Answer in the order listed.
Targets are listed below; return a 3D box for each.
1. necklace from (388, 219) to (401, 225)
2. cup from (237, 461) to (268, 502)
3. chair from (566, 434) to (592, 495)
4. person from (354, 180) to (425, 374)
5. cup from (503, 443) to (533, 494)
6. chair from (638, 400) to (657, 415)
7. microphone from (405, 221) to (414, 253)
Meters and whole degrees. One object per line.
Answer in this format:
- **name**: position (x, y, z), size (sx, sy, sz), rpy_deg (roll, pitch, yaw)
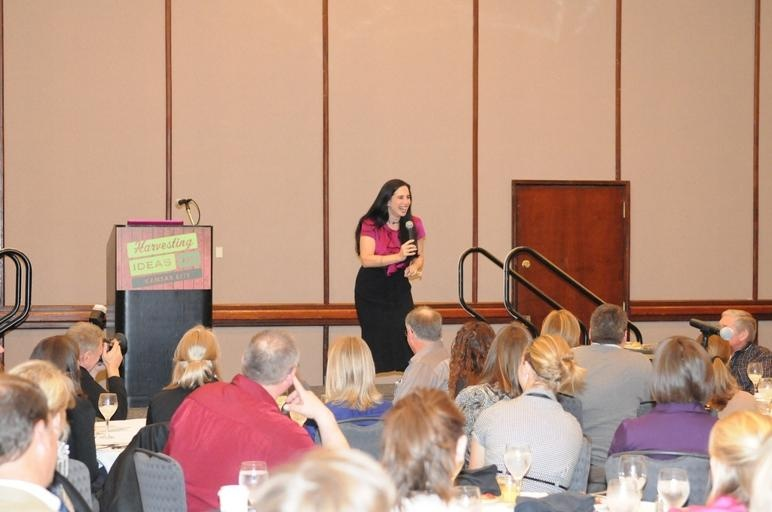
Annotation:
- **necklace**: position (0.070, -0.310, 8.770), size (0.116, 0.058, 0.027), rpy_deg (1, -3, -12)
- **cup**: position (-0.837, 1.424, 5.920), size (0.197, 0.288, 0.195), rpy_deg (1, 0, 0)
- **chair**: position (1.362, 1.465, 6.673), size (0.277, 0.328, 0.367), rpy_deg (2, 8, 6)
- **person**: position (0.031, 0.196, 8.687), size (0.621, 1.766, 0.569), rpy_deg (1, -3, -2)
- **cup**: position (0.872, 1.402, 6.239), size (0.177, 0.341, 0.292), rpy_deg (0, -3, 8)
- **chair**: position (2.019, 1.181, 7.320), size (0.113, 0.135, 0.238), rpy_deg (0, -3, 6)
- **microphone**: position (0.225, -0.239, 8.670), size (0.093, 0.188, 0.155), rpy_deg (1, -3, -1)
